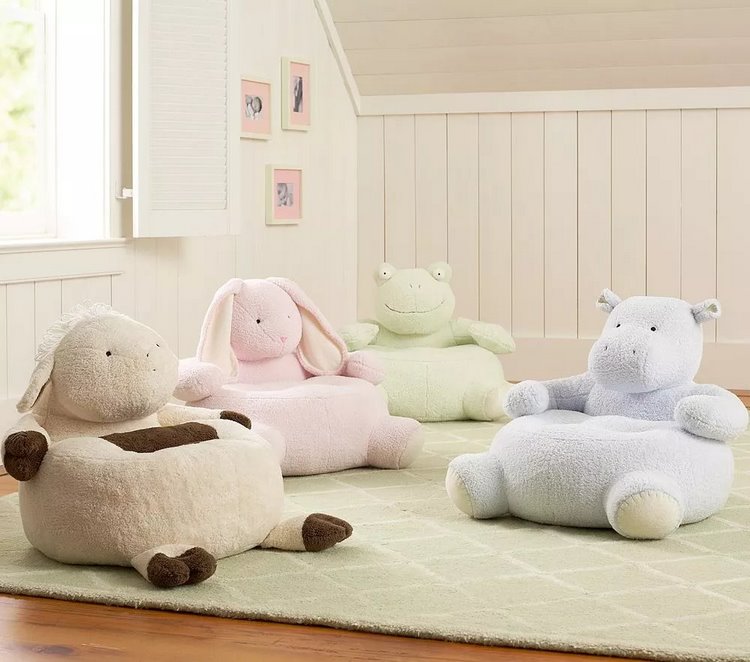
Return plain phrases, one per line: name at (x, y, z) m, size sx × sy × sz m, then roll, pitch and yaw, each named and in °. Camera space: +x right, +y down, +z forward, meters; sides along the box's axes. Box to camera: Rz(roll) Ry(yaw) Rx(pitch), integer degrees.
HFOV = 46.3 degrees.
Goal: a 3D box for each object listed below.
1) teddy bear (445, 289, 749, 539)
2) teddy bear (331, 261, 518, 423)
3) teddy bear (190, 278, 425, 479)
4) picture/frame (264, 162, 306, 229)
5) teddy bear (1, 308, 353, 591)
teddy bear at (0.615, 0.169, 2.349) m, size 0.674 × 0.489 × 0.756 m, roll 2°, pitch 4°, yaw 43°
teddy bear at (0.203, 0.037, 3.748) m, size 0.843 × 0.507 × 0.758 m, roll 2°, pitch 22°, yaw 4°
teddy bear at (-0.338, 0.117, 2.876) m, size 0.756 × 0.488 × 0.736 m, roll 2°, pitch 0°, yaw -36°
picture/frame at (-0.459, -0.675, 4.355) m, size 0.049 × 0.318 × 0.435 m, roll 2°, pitch 3°, yaw 24°
teddy bear at (-0.500, 0.195, 1.968) m, size 0.699 × 0.416 × 0.678 m, roll 0°, pitch 0°, yaw 29°
